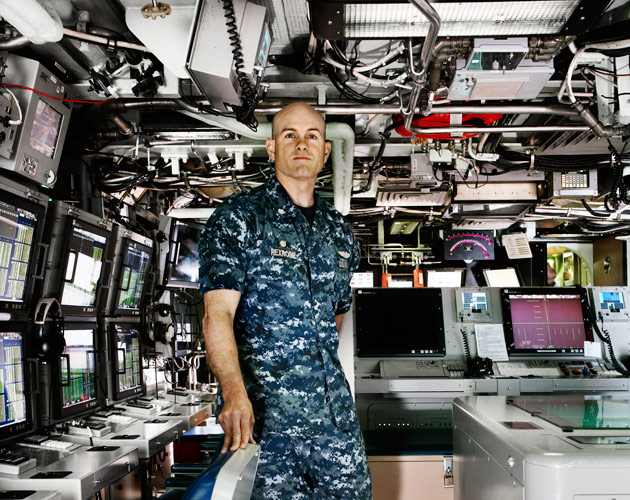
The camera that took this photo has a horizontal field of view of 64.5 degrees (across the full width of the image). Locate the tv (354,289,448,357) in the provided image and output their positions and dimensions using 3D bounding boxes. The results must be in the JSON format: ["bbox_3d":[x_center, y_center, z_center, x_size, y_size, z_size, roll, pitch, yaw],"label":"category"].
[{"bbox_3d":[0.782,0.617,4.324,0.956,0.220,0.613,-13,75,44],"label":"tv"}]

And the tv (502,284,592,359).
[{"bbox_3d":[2.017,0.621,4.344,0.778,0.287,0.590,-4,56,6],"label":"tv"}]
